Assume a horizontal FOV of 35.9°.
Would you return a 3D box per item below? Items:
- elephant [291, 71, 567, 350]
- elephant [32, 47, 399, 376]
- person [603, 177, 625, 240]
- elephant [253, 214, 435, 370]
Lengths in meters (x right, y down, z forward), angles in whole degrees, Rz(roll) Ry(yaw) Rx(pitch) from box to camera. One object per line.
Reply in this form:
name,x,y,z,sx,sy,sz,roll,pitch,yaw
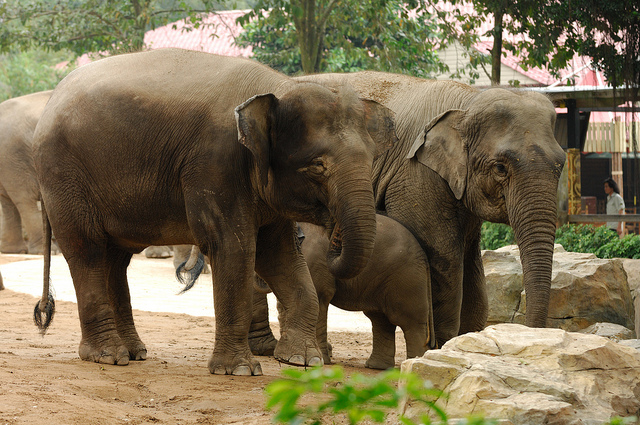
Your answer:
elephant,1.309,0.219,11.735,1.419,2.814,3.655,6,-6,-36
elephant,-1.210,0.023,10.690,3.912,3.268,1.766,2,4,27
person,5.367,-0.058,18.174,0.389,1.098,2.739,2,3,16
elephant,0.045,0.803,11.086,2.679,1.699,1.119,5,-6,22
